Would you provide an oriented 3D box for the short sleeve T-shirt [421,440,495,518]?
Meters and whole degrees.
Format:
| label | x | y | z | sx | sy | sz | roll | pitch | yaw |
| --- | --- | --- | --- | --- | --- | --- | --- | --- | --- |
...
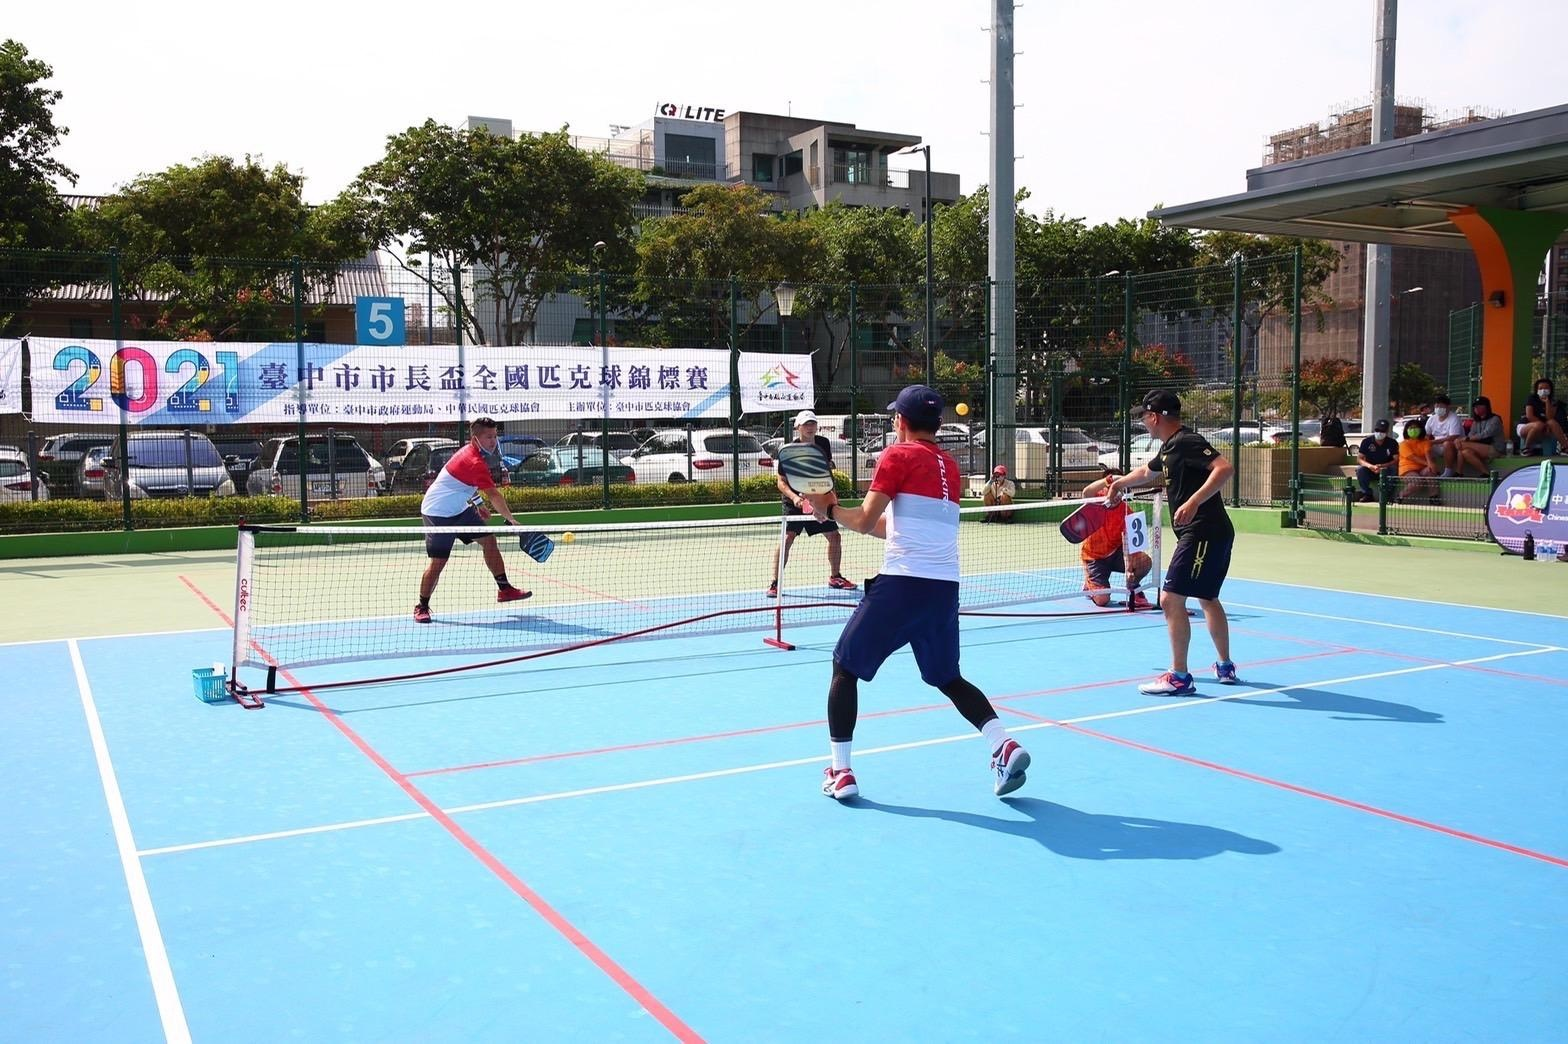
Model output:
| label | x | y | z | sx | sy | sz | roll | pitch | yaw |
| --- | --- | --- | --- | --- | --- | --- | --- | --- | --- |
| short sleeve T-shirt | -3.572 | -0.453 | 15.976 | 0.703 | 0.788 | 0.450 | -1 | 7 | -11 |

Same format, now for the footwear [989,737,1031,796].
| label | x | y | z | sx | sy | sz | roll | pitch | yaw |
| --- | --- | --- | --- | --- | --- | --- | --- | --- | --- |
| footwear | 1.599 | 1.778 | 10.649 | 0.241 | 0.438 | 0.233 | 1 | 7 | 8 |

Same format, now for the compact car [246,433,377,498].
| label | x | y | z | sx | sy | sz | roll | pitch | yaw |
| --- | --- | --- | --- | --- | --- | --- | --- | --- | --- |
| compact car | -7.347 | -0.839 | 22.933 | 0.942 | 0.754 | 1.531 | -4 | 11 | -30 |

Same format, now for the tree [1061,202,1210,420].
| label | x | y | z | sx | sy | sz | roll | pitch | yaw |
| --- | --- | --- | --- | --- | --- | --- | --- | --- | --- |
| tree | 6.110 | -3.696 | 27.249 | 2.182 | 3.891 | 3.864 | -19 | 15 | -36 |

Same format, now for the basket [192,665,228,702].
| label | x | y | z | sx | sy | sz | roll | pitch | yaw |
| --- | --- | --- | --- | --- | --- | --- | --- | --- | --- |
| basket | -4.999 | 1.428 | 12.799 | 0.246 | 0.209 | 0.335 | 2 | -3 | -29 |

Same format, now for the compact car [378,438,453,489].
| label | x | y | z | sx | sy | sz | roll | pitch | yaw |
| --- | --- | --- | --- | --- | --- | --- | --- | --- | --- |
| compact car | -5.994 | -0.940 | 23.702 | 0.681 | 0.582 | 1.088 | -9 | 13 | -44 |

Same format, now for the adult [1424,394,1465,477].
| label | x | y | z | sx | sy | sz | roll | pitch | yaw |
| --- | --- | --- | --- | --- | --- | --- | --- | --- | --- |
| adult | 10.807 | -1.386 | 24.363 | 0.824 | 1.298 | 0.749 | -8 | 5 | 0 |

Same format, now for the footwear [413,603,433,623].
| label | x | y | z | sx | sy | sz | roll | pitch | yaw |
| --- | --- | --- | --- | --- | --- | --- | --- | --- | --- |
| footwear | -3.889 | 0.981 | 15.706 | 0.238 | 0.230 | 0.160 | -2 | 7 | -23 |

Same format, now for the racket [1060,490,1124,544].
| label | x | y | z | sx | sy | sz | roll | pitch | yaw |
| --- | --- | --- | --- | --- | --- | --- | --- | --- | --- |
| racket | 3.342 | -0.042 | 16.183 | 0.667 | 0.338 | 0.221 | -35 | -8 | 5 |

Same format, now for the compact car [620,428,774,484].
| label | x | y | z | sx | sy | sz | roll | pitch | yaw |
| --- | --- | --- | --- | --- | --- | --- | --- | --- | --- |
| compact car | -1.639 | -1.100 | 25.641 | 2.156 | 0.721 | 0.978 | 1 | -2 | -21 |

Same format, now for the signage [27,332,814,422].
| label | x | y | z | sx | sy | sz | roll | pitch | yaw |
| --- | --- | --- | --- | --- | --- | --- | --- | --- | --- |
| signage | -6.179 | -2.144 | 22.835 | 9.879 | 1.249 | 1.097 | -2 | 7 | -21 |

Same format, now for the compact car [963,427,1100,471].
| label | x | y | z | sx | sy | sz | roll | pitch | yaw |
| --- | --- | --- | --- | --- | --- | --- | --- | --- | --- |
| compact car | 4.582 | -1.252 | 27.109 | 1.716 | 0.845 | 1.063 | -4 | 4 | 1 |

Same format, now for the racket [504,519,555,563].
| label | x | y | z | sx | sy | sz | roll | pitch | yaw |
| --- | --- | --- | --- | --- | --- | --- | --- | --- | --- |
| racket | -2.775 | 0.253 | 16.297 | 0.745 | 0.391 | 0.131 | 34 | -2 | 45 |

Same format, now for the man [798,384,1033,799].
| label | x | y | z | sx | sy | sz | roll | pitch | yaw |
| --- | --- | --- | --- | --- | --- | --- | --- | --- | --- |
| man | 0.914 | 0.517 | 10.752 | 1.475 | 2.966 | 0.673 | 1 | 7 | 3 |

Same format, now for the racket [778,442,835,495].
| label | x | y | z | sx | sy | sz | roll | pitch | yaw |
| --- | --- | --- | --- | --- | --- | --- | --- | --- | --- |
| racket | 0.122 | -0.348 | 10.212 | 0.328 | 0.367 | 0.472 | 1 | 6 | 4 |
